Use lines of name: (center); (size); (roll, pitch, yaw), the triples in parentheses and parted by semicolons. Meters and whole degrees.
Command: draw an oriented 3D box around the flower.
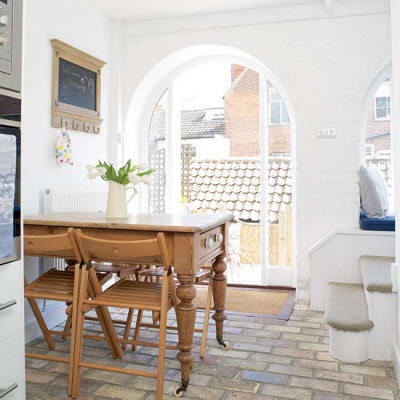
flower: (-0.548, -0.186, 2.503); (0.427, 0.201, 0.392); (6, -4, -13)

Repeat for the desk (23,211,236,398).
desk: (-0.331, 0.618, 2.537); (0.960, 0.975, 1.266); (-1, 0, 19)

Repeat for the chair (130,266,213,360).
chair: (-0.200, 0.767, 2.817); (0.664, 0.698, 0.580); (1, -3, 15)

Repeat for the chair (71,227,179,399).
chair: (-0.422, 0.622, 2.131); (0.620, 0.918, 0.597); (0, 1, 5)

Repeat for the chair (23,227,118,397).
chair: (-0.889, 0.639, 2.329); (0.524, 0.958, 0.584); (0, 4, 18)

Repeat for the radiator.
radiator: (-0.898, 0.215, 2.518); (0.051, 0.717, 0.688); (1, 3, 26)

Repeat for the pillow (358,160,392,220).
pillow: (1.729, -0.077, 3.810); (0.372, 0.747, 0.748); (2, 0, 19)
